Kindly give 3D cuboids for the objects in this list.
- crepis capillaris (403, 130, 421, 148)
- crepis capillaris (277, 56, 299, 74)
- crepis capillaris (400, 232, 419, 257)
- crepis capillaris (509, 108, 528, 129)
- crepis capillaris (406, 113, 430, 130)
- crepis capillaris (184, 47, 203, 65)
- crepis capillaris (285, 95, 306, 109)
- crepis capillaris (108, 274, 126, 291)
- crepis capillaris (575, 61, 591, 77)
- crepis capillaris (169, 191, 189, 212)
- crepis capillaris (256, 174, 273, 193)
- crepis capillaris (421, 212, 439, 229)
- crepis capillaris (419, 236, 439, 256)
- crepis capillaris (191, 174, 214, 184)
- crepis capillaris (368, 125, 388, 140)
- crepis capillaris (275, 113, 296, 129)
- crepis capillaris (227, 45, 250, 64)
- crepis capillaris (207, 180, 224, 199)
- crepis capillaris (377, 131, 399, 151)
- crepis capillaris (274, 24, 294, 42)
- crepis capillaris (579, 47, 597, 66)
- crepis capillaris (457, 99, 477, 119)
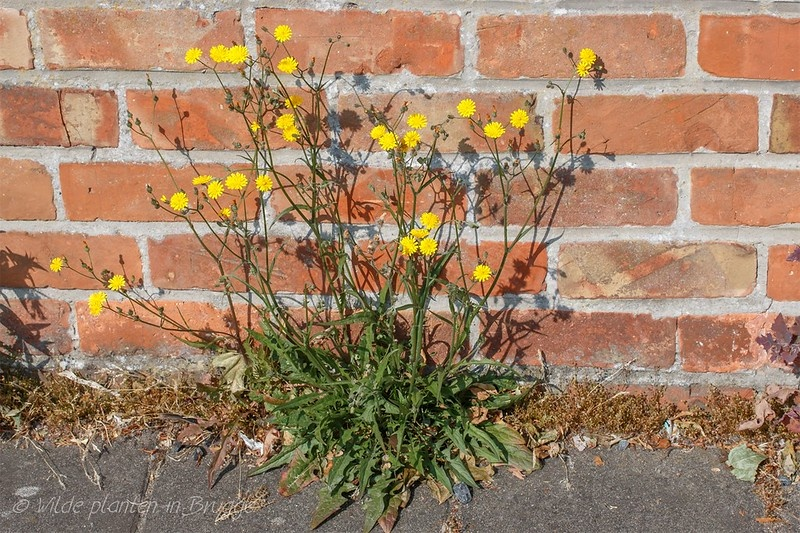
[{"bbox_3d":[0.027,-0.327,1.904,0.038,0.011,0.045,16,104,7],"label":"crepis capillaris"},{"bbox_3d":[-0.291,-0.502,1.903,0.046,0.021,0.054,-1,91,7],"label":"crepis capillaris"},{"bbox_3d":[0.023,-0.052,1.871,0.044,0.017,0.052,8,90,7],"label":"crepis capillaris"},{"bbox_3d":[0.306,-0.374,1.912,0.044,0.013,0.052,0,87,23],"label":"crepis capillaris"},{"bbox_3d":[0.046,-0.369,1.933,0.044,0.014,0.044,-37,63,-15],"label":"crepis capillaris"},{"bbox_3d":[-0.538,-0.538,1.923,0.043,0.013,0.051,2,79,0],"label":"crepis capillaris"},{"bbox_3d":[-0.272,-0.421,1.924,0.040,0.040,0.024,-26,108,-20],"label":"crepis capillaris"},{"bbox_3d":[-0.769,0.050,2.016,0.044,0.020,0.053,0,83,2],"label":"crepis capillaris"},{"bbox_3d":[0.475,-0.500,1.908,0.036,0.013,0.041,11,101,7],"label":"crepis capillaris"},{"bbox_3d":[-0.585,-0.167,1.968,0.046,0.020,0.057,3,89,4],"label":"crepis capillaris"},{"bbox_3d":[-0.358,-0.210,1.921,0.040,0.012,0.047,-7,85,-6],"label":"crepis capillaris"},{"bbox_3d":[0.071,-0.111,1.903,0.037,0.017,0.043,12,78,10],"label":"crepis capillaris"},{"bbox_3d":[0.072,-0.049,1.889,0.043,0.047,0.040,-9,61,-15],"label":"crepis capillaris"},{"bbox_3d":[-0.525,-0.225,1.946,0.033,0.037,0.017,-4,107,12],"label":"crepis capillaris"},{"bbox_3d":[-0.055,-0.343,1.911,0.038,0.015,0.038,-42,70,-3],"label":"crepis capillaris"},{"bbox_3d":[-0.295,-0.376,1.921,0.040,0.016,0.048,3,80,1],"label":"crepis capillaris"},{"bbox_3d":[-0.414,-0.537,1.890,0.055,0.021,0.065,-2,85,-2],"label":"crepis capillaris"},{"bbox_3d":[-0.484,-0.201,1.949,0.044,0.015,0.052,-10,84,17],"label":"crepis capillaris"},{"bbox_3d":[-0.033,-0.310,1.888,0.042,0.011,0.051,-10,81,12],"label":"crepis capillaris"},{"bbox_3d":[-0.295,-0.580,1.898,0.045,0.020,0.055,2,84,-13],"label":"crepis capillaris"},{"bbox_3d":[0.493,-0.527,1.900,0.043,0.019,0.053,-1,82,1],"label":"crepis capillaris"},{"bbox_3d":[0.174,-0.401,1.909,0.045,0.021,0.053,-11,84,7],"label":"crepis capillaris"}]
